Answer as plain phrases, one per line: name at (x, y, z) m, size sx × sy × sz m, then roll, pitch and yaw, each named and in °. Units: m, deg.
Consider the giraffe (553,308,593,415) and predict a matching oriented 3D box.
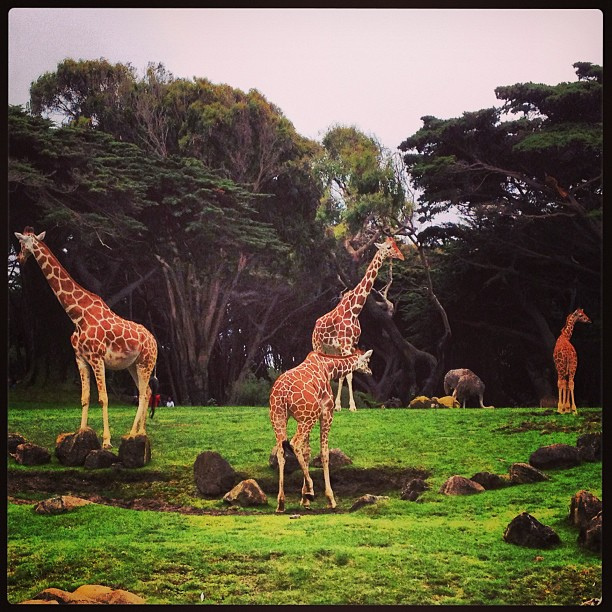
giraffe at (3.060, 0.636, 9.348) m, size 0.372 × 1.230 × 0.265 m, roll -1°, pitch -5°, yaw 20°
